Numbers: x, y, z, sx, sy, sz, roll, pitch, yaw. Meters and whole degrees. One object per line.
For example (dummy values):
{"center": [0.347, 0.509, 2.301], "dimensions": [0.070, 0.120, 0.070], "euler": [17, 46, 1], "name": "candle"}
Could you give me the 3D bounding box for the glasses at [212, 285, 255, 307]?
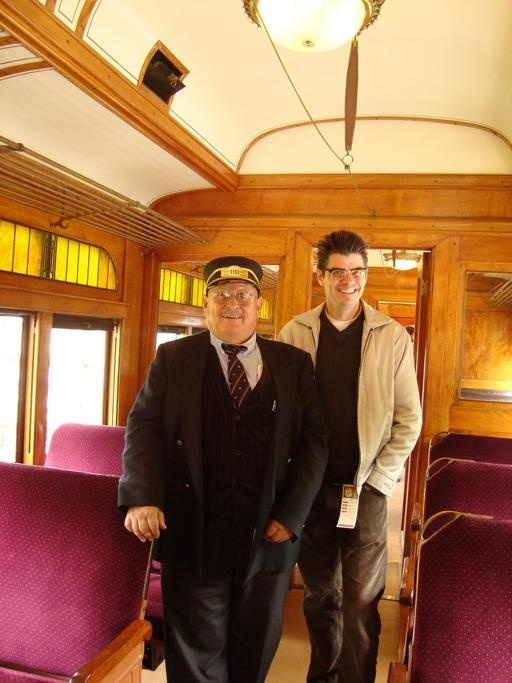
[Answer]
{"center": [-0.076, -0.149, 1.675], "dimensions": [0.100, 0.034, 0.070], "euler": [2, -39, -1], "name": "glasses"}
